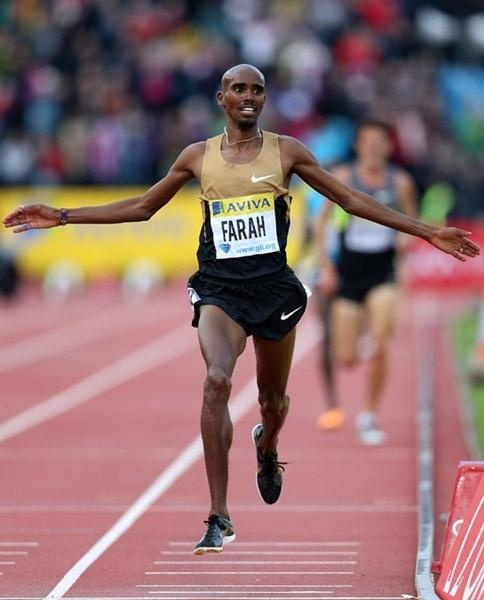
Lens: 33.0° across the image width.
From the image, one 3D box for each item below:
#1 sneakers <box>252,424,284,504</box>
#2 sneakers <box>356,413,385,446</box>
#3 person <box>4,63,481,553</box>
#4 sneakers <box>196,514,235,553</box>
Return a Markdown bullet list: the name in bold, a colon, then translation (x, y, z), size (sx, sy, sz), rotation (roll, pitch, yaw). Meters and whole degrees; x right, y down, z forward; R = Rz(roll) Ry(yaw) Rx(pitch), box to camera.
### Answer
- **sneakers**: translation (0.108, 0.797, 3.864), size (0.168, 0.375, 0.167), rotation (-10, 5, -12)
- **sneakers**: translation (0.855, 0.889, 5.580), size (0.173, 0.220, 0.106), rotation (-21, -8, -16)
- **person**: translation (0.003, 0.026, 3.223), size (1.354, 1.863, 1.060), rotation (-4, 5, -29)
- **sneakers**: translation (-0.085, 0.785, 2.720), size (0.075, 0.076, 0.189), rotation (-4, -7, 14)
